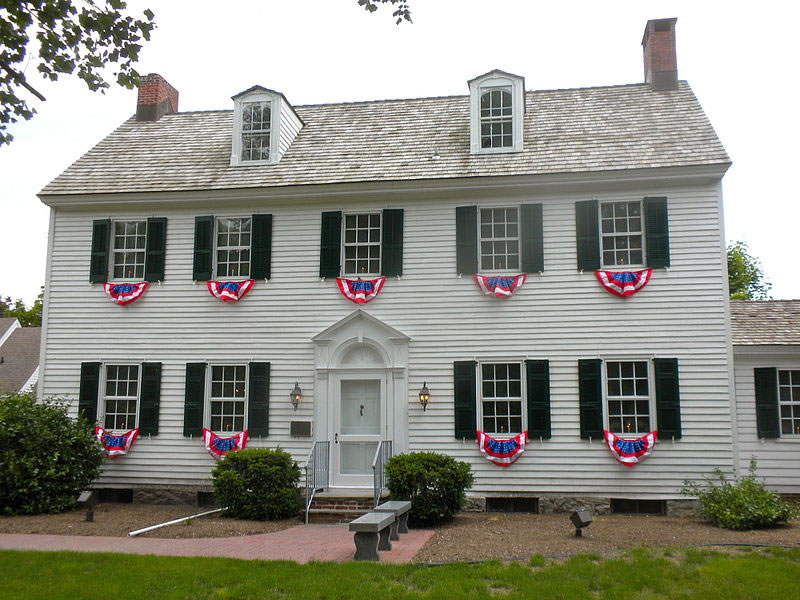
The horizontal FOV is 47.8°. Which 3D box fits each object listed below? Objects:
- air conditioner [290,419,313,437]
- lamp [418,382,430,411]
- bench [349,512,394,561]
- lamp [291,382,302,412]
[{"bbox_3d":[-2.325,3.089,21.712,0.643,0.402,0.331,0,-14,3],"label":"air conditioner"},{"bbox_3d":[0.627,2.297,21.434,0.263,0.654,0.325,0,6,11],"label":"lamp"},{"bbox_3d":[-0.478,4.371,16.836,0.561,0.813,1.092,0,6,12],"label":"bench"},{"bbox_3d":[-2.445,2.340,21.869,0.263,0.656,0.319,0,6,18],"label":"lamp"}]
